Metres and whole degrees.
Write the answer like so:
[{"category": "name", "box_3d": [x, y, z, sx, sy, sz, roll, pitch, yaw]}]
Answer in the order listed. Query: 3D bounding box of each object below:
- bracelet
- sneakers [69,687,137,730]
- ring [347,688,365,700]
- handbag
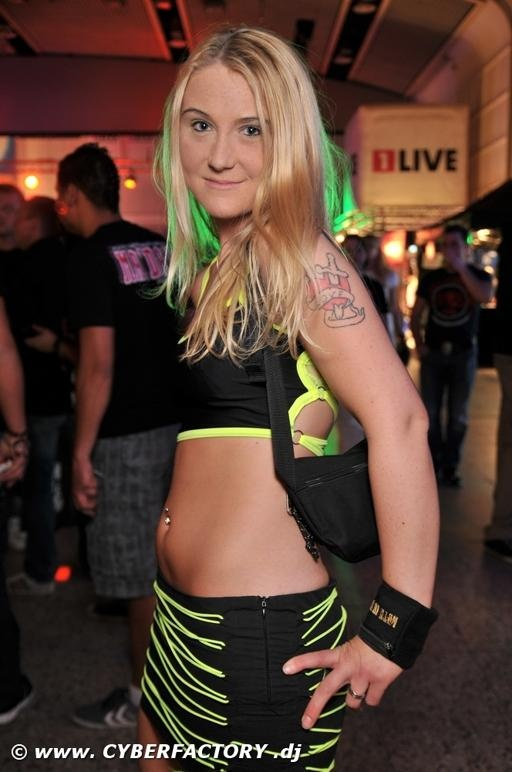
[{"category": "bracelet", "box_3d": [0.183, 0.304, 0.835, 0.095, 0.087, 0.093, 26, 7, -19]}, {"category": "sneakers", "box_3d": [-0.449, 0.988, 1.908, 0.247, 0.103, 0.087, 2, -7, -5]}, {"category": "ring", "box_3d": [0.132, 0.407, 0.813, 0.016, 0.007, 0.015, -2, -6, 44]}, {"category": "handbag", "box_3d": [0.112, 0.160, 0.919, 0.138, 0.177, 0.145, -19, -8, 29]}]
